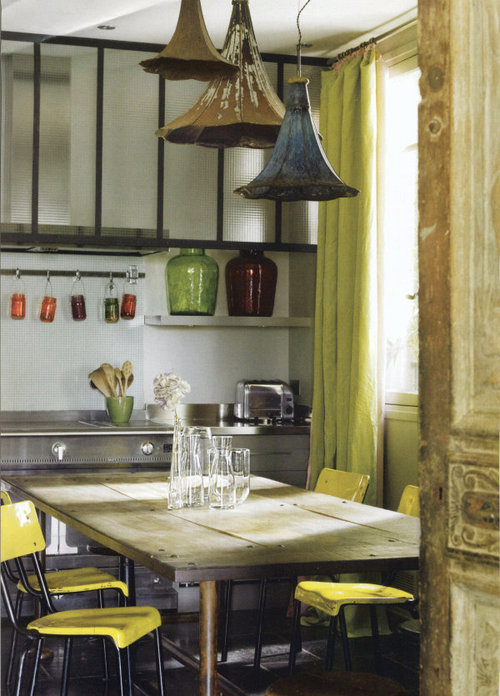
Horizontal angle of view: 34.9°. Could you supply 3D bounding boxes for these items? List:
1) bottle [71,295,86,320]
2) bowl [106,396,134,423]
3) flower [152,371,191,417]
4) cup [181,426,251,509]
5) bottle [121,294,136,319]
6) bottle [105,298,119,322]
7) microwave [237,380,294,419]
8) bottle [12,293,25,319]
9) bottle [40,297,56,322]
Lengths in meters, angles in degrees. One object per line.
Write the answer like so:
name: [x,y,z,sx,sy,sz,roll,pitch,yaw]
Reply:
bottle: [-0.989,-0.233,4.606,0.091,0.159,0.119,1,-2,-13]
bowl: [-0.738,0.357,4.528,0.152,0.133,0.143,-3,-4,0]
flower: [-0.447,0.252,4.430,0.197,0.204,0.119,-2,-3,44]
cup: [-0.124,0.403,2.671,0.295,0.289,0.176,-1,-1,24]
bottle: [-0.713,-0.245,4.696,0.097,0.152,0.129,1,-2,-10]
bottle: [-0.810,-0.221,4.657,0.084,0.137,0.072,1,-2,-8]
microwave: [0.086,0.317,4.677,0.342,0.236,0.258,0,-2,-1]
bottle: [-1.303,-0.233,4.481,0.086,0.146,0.142,1,-2,-16]
bottle: [-1.153,-0.219,4.549,0.093,0.149,0.139,1,-2,-13]
